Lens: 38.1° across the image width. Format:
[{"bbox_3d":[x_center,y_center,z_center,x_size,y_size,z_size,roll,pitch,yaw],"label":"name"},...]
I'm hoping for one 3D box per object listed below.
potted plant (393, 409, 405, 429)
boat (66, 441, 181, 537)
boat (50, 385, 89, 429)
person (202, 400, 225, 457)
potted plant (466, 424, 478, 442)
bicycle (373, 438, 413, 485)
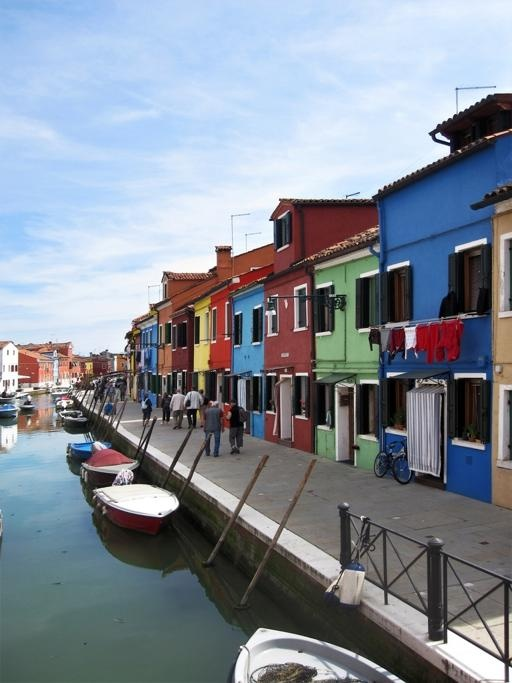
[{"bbox_3d":[2.890,1.570,14.987,0.290,0.470,0.289,-1,3,-2],"label":"potted plant"},{"bbox_3d":[-3.009,3.331,16.778,1.158,0.956,5.161,-8,5,-18],"label":"boat"},{"bbox_3d":[-18.701,5.454,72.164,2.389,1.143,67.190,-14,2,-15],"label":"boat"},{"bbox_3d":[-1.097,2.286,19.064,0.470,1.564,0.457,-1,-29,1],"label":"person"},{"bbox_3d":[3.673,1.563,12.615,0.221,0.313,0.235,-3,5,-38],"label":"potted plant"},{"bbox_3d":[2.745,2.344,14.768,0.552,0.752,1.178,21,-13,-26],"label":"bicycle"}]
